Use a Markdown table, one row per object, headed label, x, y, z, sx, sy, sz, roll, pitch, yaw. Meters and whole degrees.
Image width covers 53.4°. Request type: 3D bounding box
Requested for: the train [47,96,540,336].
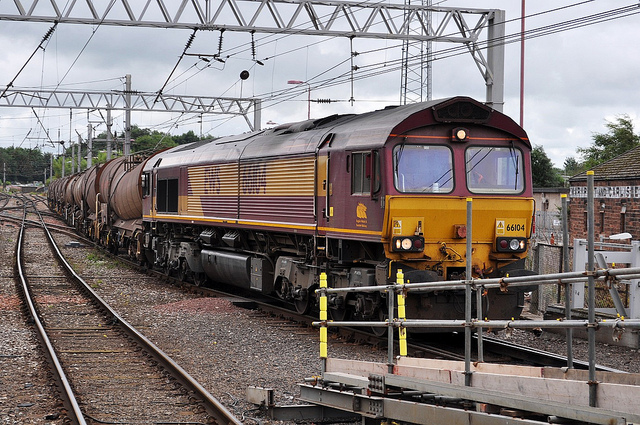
| label | x | y | z | sx | sy | sz | roll | pitch | yaw |
| --- | --- | --- | --- | --- | --- | --- | --- | --- | --- |
| train | -3.164 | -0.050 | 23.517 | 5.315 | 5.155 | 25.494 | 0 | 2 | -27 |
